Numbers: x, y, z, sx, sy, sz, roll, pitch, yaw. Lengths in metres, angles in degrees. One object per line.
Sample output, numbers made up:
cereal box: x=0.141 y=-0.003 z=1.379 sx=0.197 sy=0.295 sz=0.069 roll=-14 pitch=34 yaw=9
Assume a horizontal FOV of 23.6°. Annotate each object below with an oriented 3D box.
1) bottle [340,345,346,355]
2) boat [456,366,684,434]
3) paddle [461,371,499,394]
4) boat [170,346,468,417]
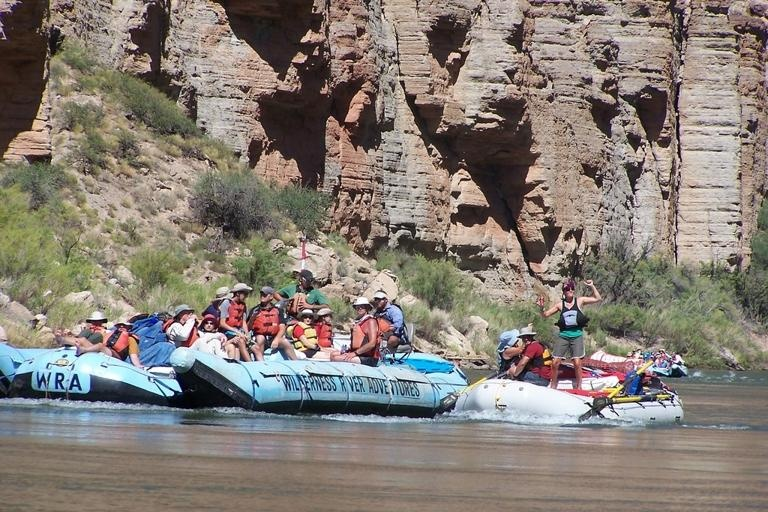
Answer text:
bottle: x=-1.304 y=2.802 z=57.122 sx=0.207 sy=0.283 sz=0.622 roll=1 pitch=-2 yaw=2
boat: x=5.684 y=4.281 z=56.302 sx=6.694 sy=1.420 sz=1.529 roll=0 pitch=8 yaw=-7
paddle: x=3.017 y=3.875 z=58.086 sx=1.054 sy=0.109 sz=0.188 roll=-29 pitch=56 yaw=-4
boat: x=-2.099 y=3.682 z=55.868 sx=8.874 sy=2.297 sz=1.398 roll=-1 pitch=8 yaw=-19
